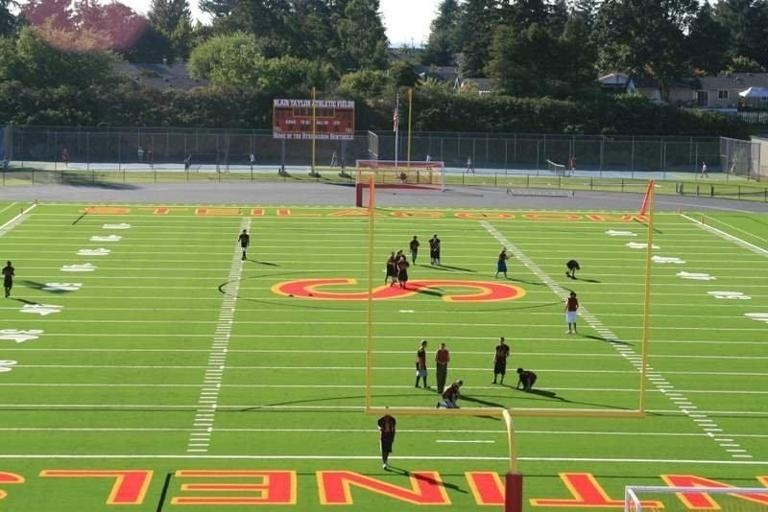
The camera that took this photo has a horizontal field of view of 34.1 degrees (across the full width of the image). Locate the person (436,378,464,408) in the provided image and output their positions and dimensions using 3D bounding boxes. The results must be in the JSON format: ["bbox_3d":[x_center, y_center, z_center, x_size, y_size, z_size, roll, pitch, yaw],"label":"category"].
[{"bbox_3d":[2.678,5.611,51.569,1.318,1.293,1.141,5,7,-7],"label":"person"}]

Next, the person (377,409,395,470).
[{"bbox_3d":[0.082,6.972,48.885,0.622,2.363,1.214,2,16,-1],"label":"person"}]

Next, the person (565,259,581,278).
[{"bbox_3d":[10.048,0.666,66.727,0.797,0.769,0.687,-11,27,-35],"label":"person"}]

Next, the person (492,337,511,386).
[{"bbox_3d":[5.002,4.386,53.745,0.553,1.950,0.777,3,16,4],"label":"person"}]

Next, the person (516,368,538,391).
[{"bbox_3d":[6.041,5.152,53.246,0.801,0.919,0.824,3,15,5],"label":"person"}]

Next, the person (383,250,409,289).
[{"bbox_3d":[0.713,0.558,64.395,1.375,1.507,1.109,16,21,29],"label":"person"}]
